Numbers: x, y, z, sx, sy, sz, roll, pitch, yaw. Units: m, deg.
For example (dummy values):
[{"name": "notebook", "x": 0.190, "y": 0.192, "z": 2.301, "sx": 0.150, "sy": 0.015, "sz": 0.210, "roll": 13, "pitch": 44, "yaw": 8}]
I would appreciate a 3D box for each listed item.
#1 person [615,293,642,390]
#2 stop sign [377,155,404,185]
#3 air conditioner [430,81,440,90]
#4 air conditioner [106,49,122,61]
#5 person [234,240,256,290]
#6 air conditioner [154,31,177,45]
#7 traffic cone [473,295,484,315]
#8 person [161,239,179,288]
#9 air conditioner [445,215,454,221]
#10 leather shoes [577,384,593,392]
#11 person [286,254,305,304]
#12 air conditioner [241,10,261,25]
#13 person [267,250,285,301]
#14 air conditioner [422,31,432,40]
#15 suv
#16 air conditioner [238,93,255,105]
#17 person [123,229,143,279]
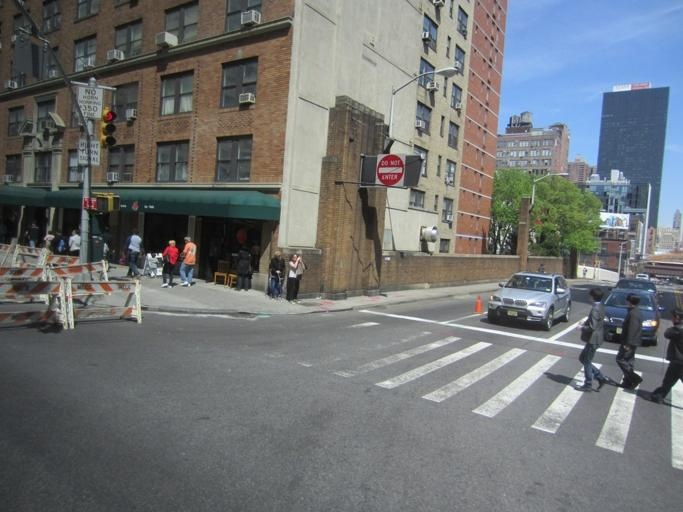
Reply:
[{"name": "person", "x": 7.115, "y": 2.116, "z": 13.543, "sx": 0.564, "sy": 2.447, "sz": 0.711, "roll": 2, "pitch": 0, "yaw": 32}, {"name": "stop sign", "x": 2.166, "y": -3.798, "z": 24.090, "sx": 0.397, "sy": 1.448, "sz": 1.578, "roll": 2, "pitch": 0, "yaw": -39}, {"name": "air conditioner", "x": 6.246, "y": -11.635, "z": 36.998, "sx": 0.609, "sy": 0.719, "sz": 0.472, "roll": 6, "pitch": 3, "yaw": 35}, {"name": "air conditioner", "x": -11.931, "y": -10.721, "z": 29.100, "sx": 0.399, "sy": 0.551, "sz": 0.734, "roll": -7, "pitch": 12, "yaw": -43}, {"name": "person", "x": -4.122, "y": 0.476, "z": 24.021, "sx": 0.650, "sy": 1.893, "sz": 1.451, "roll": 2, "pitch": 0, "yaw": 0}, {"name": "air conditioner", "x": -8.515, "y": -10.740, "z": 26.956, "sx": 1.195, "sy": 0.761, "sz": 0.593, "roll": 3, "pitch": 0, "yaw": 8}, {"name": "traffic cone", "x": 6.395, "y": 2.300, "z": 25.589, "sx": 0.599, "sy": 0.976, "sz": 0.666, "roll": -1, "pitch": -1, "yaw": -7}, {"name": "person", "x": -7.100, "y": 0.325, "z": 22.850, "sx": 0.572, "sy": 1.917, "sz": 1.360, "roll": 2, "pitch": 0, "yaw": -19}, {"name": "air conditioner", "x": 8.546, "y": -3.024, "z": 43.320, "sx": 0.432, "sy": 0.292, "sz": 0.630, "roll": 3, "pitch": 12, "yaw": 6}, {"name": "leather shoes", "x": 5.871, "y": 3.181, "z": 13.311, "sx": 0.182, "sy": 0.177, "sz": 0.467, "roll": 20, "pitch": -19, "yaw": -28}, {"name": "person", "x": -1.847, "y": 0.864, "z": 22.428, "sx": 0.705, "sy": 1.874, "sz": 1.533, "roll": 2, "pitch": 0, "yaw": -4}, {"name": "air conditioner", "x": -3.888, "y": -10.496, "z": 23.966, "sx": 0.912, "sy": 0.697, "sz": 0.528, "roll": 3, "pitch": 0, "yaw": 15}, {"name": "person", "x": -2.625, "y": 0.809, "z": 22.689, "sx": 0.676, "sy": 1.834, "sz": 0.768, "roll": 2, "pitch": 0, "yaw": -8}, {"name": "air conditioner", "x": 5.515, "y": -14.298, "z": 35.430, "sx": 0.527, "sy": 0.581, "sz": 0.821, "roll": 2, "pitch": 0, "yaw": 19}, {"name": "suv", "x": 7.406, "y": 1.643, "z": 21.032, "sx": 1.663, "sy": 1.505, "sz": 3.421, "roll": 0, "pitch": -5, "yaw": 31}, {"name": "air conditioner", "x": -4.147, "y": -6.966, "z": 24.197, "sx": 0.781, "sy": 0.526, "sz": 0.433, "roll": 2, "pitch": 0, "yaw": 34}, {"name": "person", "x": -9.027, "y": -0.121, "z": 24.091, "sx": 0.580, "sy": 2.032, "sz": 1.339, "roll": 2, "pitch": 0, "yaw": -20}]
